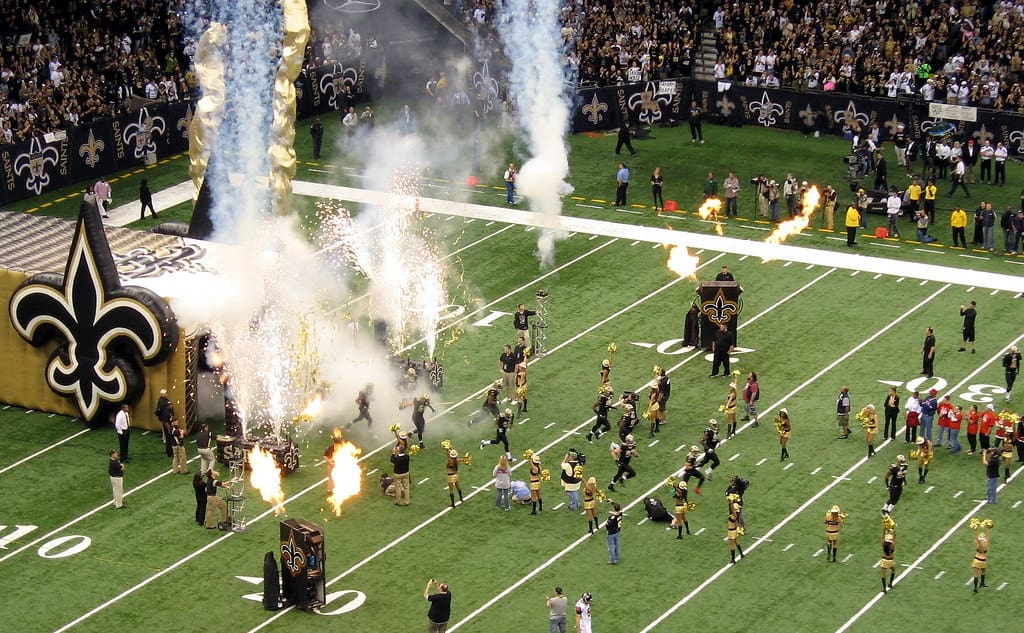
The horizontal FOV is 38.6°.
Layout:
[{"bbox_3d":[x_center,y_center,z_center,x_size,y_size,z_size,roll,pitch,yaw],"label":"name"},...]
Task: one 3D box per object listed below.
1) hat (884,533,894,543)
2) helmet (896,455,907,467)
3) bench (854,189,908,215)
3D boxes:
[{"bbox_3d":[11.979,7.070,46.625,0.251,0.236,0.225,-2,2,31],"label":"hat"},{"bbox_3d":[13.474,5.038,50.673,0.407,0.416,0.434,-2,-1,-26],"label":"helmet"},{"bbox_3d":[17.899,-5.395,70.335,2.078,0.631,1.432,3,12,15],"label":"bench"}]
